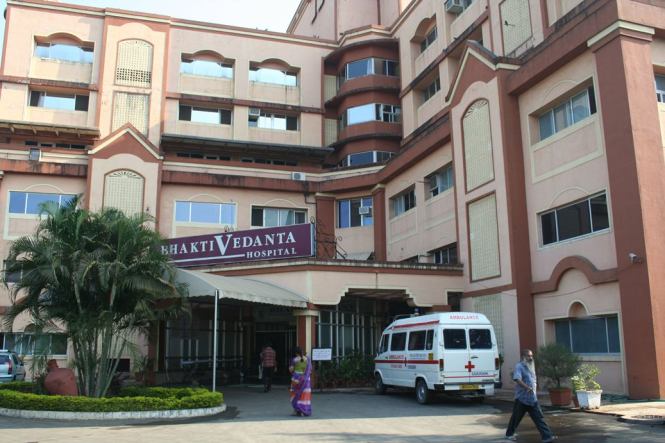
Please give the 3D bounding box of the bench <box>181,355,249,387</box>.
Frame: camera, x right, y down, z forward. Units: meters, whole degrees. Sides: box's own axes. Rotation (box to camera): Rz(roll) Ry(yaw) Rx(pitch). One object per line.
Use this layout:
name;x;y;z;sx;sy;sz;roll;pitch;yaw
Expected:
bench;-6.477;8.028;33.646;1.692;1.043;3.365;-5;-8;36

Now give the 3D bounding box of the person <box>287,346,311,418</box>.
person;-1.208;6.006;23.406;1.066;2.247;0.927;0;3;5

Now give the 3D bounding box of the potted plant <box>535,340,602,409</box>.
potted plant;8.988;6.028;24.479;2.695;3.126;2.185;1;-23;-5

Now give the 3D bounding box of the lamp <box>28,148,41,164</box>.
lamp;-19.185;-4.296;40.385;0.701;1.062;0.476;5;-15;-21

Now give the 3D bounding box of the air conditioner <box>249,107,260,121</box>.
air conditioner;-5.955;-8.225;47.515;0.734;0.921;0.422;1;-14;-5

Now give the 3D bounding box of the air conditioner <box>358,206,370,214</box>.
air conditioner;2.192;-0.734;42.529;0.840;0.625;0.460;-16;-28;43

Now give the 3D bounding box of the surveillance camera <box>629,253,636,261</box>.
surveillance camera;11.985;1.389;25.025;0.171;0.308;0.154;0;-8;32
